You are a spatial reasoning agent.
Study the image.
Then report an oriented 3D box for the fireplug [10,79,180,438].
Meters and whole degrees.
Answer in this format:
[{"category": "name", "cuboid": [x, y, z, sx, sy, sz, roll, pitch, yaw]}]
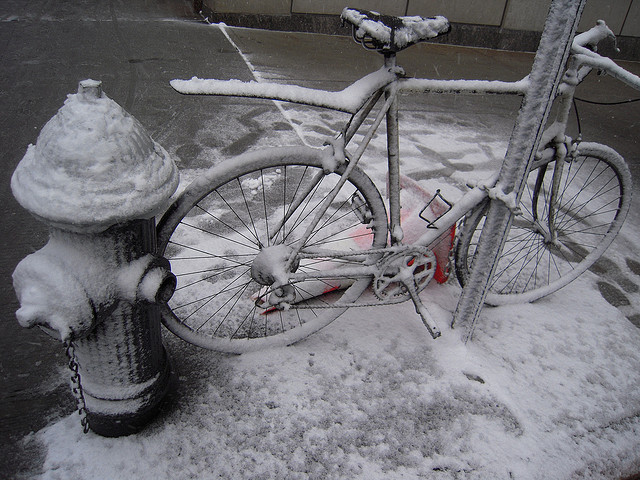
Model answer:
[{"category": "fireplug", "cuboid": [-1.232, 0.092, 3.601, 0.976, 2.168, 0.981, -11, 39, -27]}]
